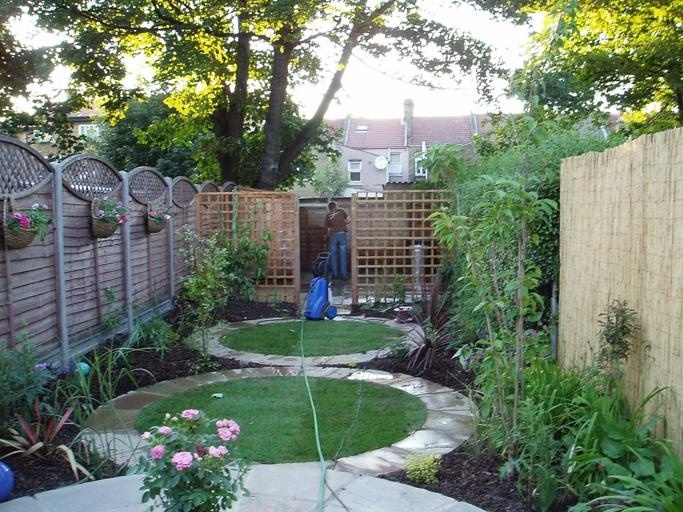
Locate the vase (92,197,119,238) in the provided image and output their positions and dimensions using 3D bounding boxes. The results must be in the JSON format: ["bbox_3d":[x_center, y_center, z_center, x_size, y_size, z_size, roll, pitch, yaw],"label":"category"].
[{"bbox_3d":[-2.708,-0.408,6.503,0.411,0.386,0.357,5,-2,-34],"label":"vase"}]

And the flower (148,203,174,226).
[{"bbox_3d":[-2.642,-0.602,8.047,0.341,0.288,0.218,7,-23,-35],"label":"flower"}]

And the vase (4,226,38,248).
[{"bbox_3d":[-2.818,-0.152,4.893,0.167,0.106,0.163,3,-3,-8],"label":"vase"}]

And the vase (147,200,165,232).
[{"bbox_3d":[-2.677,-0.568,8.077,0.249,0.477,0.575,2,4,-19],"label":"vase"}]

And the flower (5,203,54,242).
[{"bbox_3d":[-2.806,-0.311,5.023,0.339,0.315,0.234,10,-43,-27],"label":"flower"}]

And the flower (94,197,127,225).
[{"bbox_3d":[-2.661,-0.549,6.383,0.303,0.187,0.293,6,20,-42],"label":"flower"}]
